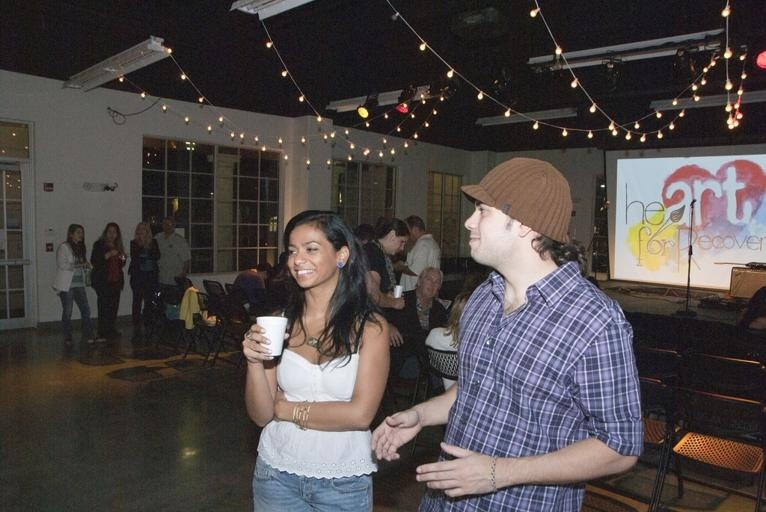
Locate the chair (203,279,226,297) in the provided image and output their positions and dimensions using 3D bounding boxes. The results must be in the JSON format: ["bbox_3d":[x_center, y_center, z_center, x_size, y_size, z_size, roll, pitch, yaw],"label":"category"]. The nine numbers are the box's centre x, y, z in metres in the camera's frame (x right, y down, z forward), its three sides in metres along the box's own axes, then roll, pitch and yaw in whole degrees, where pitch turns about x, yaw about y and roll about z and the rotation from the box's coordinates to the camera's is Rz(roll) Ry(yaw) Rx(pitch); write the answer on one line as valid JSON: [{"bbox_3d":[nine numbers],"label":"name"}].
[{"bbox_3d":[-2.797,0.525,8.790,0.274,0.424,0.279,-4,3,0],"label":"chair"}]

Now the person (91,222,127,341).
[{"bbox_3d":[-4.736,0.400,9.078,0.478,1.860,0.744,0,14,-1],"label":"person"}]

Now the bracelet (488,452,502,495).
[{"bbox_3d":[0.619,1.214,2.988,0.048,0.183,0.057,3,14,9],"label":"bracelet"}]

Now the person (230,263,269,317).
[{"bbox_3d":[-2.202,0.567,8.823,0.799,0.982,0.539,0,4,12],"label":"person"}]

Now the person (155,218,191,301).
[{"bbox_3d":[-3.805,0.044,9.670,0.567,1.348,1.493,-6,15,-24],"label":"person"}]

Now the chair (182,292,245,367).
[{"bbox_3d":[-2.379,1.003,8.032,0.765,1.076,0.758,15,4,39],"label":"chair"}]

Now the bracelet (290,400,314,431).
[{"bbox_3d":[-0.526,1.016,3.447,0.140,0.198,0.188,1,-32,7],"label":"bracelet"}]

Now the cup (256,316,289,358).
[{"bbox_3d":[-0.698,0.484,3.386,0.227,0.269,0.237,-4,0,0],"label":"cup"}]

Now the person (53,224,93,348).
[{"bbox_3d":[-5.058,0.454,8.690,0.520,1.879,0.670,-8,16,-32],"label":"person"}]

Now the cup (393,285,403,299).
[{"bbox_3d":[0.170,0.386,5.725,0.112,0.189,0.119,6,-8,1],"label":"cup"}]

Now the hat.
[{"bbox_3d":[0.821,-0.342,3.231,0.588,0.355,0.450,20,11,-7],"label":"hat"}]

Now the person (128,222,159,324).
[{"bbox_3d":[-4.271,0.353,9.569,0.546,1.846,0.539,-6,15,-26],"label":"person"}]
